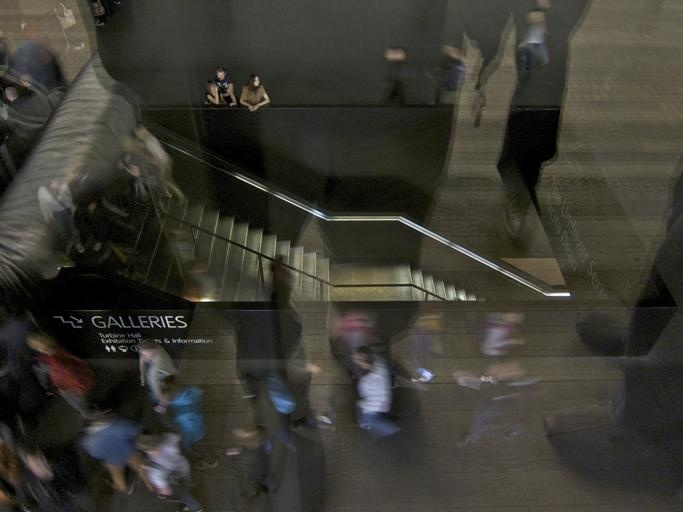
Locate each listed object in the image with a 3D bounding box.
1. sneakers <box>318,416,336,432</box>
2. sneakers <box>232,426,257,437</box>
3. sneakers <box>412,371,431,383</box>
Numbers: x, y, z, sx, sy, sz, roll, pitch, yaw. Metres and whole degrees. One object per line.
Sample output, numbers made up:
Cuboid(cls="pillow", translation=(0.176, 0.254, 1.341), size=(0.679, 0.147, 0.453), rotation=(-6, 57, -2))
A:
Cuboid(cls="sneakers", translation=(-0.140, 1.373, 5.650), size=(0.159, 0.077, 0.091), rotation=(6, 42, 7))
Cuboid(cls="sneakers", translation=(-0.804, 1.450, 5.620), size=(0.146, 0.087, 0.040), rotation=(4, -3, -3))
Cuboid(cls="sneakers", translation=(0.666, 1.010, 5.797), size=(0.178, 0.074, 0.099), rotation=(-2, 42, -2))
